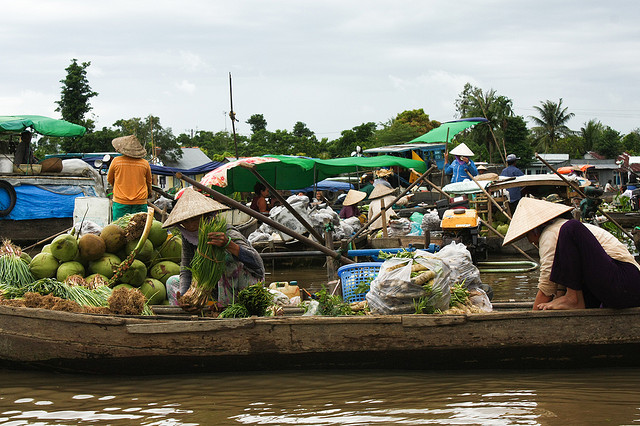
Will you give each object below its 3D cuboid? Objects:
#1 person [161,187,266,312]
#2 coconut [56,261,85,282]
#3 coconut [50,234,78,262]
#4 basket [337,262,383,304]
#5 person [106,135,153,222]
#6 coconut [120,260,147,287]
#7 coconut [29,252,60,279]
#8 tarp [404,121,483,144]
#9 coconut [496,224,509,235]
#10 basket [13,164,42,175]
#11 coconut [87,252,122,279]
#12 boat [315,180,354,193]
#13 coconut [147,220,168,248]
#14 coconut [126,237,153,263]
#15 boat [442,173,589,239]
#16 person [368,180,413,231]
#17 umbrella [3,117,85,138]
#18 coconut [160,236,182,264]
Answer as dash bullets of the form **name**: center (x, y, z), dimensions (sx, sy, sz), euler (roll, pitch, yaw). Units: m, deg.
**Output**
- **person**: center (-1.274, 0.453, 10.964), dimensions (1.150, 1.538, 0.965), euler (-2, 13, -5)
- **coconut**: center (-3.081, 0.686, 11.316), dimensions (0.283, 0.243, 0.328), euler (-15, -8, 23)
- **coconut**: center (-3.152, 0.459, 11.363), dimensions (0.330, 0.316, 0.383), euler (16, -23, -10)
- **basket**: center (0.467, 0.851, 11.574), dimensions (0.754, 0.439, 0.679), euler (1, 1, -10)
- **person**: center (-2.831, -0.502, 13.607), dimensions (0.647, 1.228, 0.563), euler (-6, 14, -19)
- **coconut**: center (-2.314, 0.752, 11.465), dimensions (0.344, 0.307, 0.348), euler (2, 3, 27)
- **coconut**: center (-3.426, 0.638, 11.336), dimensions (0.434, 0.288, 0.324), euler (-8, 13, -43)
- **tarp**: center (3.052, -1.971, 22.657), dimensions (1.129, 0.323, 0.847), euler (-16, 2, -41)
- **coconut**: center (3.182, 0.294, 15.988), dimensions (0.178, 0.122, 0.144), euler (-9, 43, 16)
- **basket**: center (-5.499, -0.786, 17.195), dimensions (0.346, 0.102, 0.233), euler (2, -3, -6)
- **coconut**: center (-2.684, 0.645, 11.514), dimensions (0.408, 0.275, 0.281), euler (-10, 13, 10)
- **boat**: center (0.354, -0.848, 29.439), dimensions (0.931, 0.176, 0.867), euler (3, -1, 15)
- **coconut**: center (-2.096, 0.254, 11.792), dimensions (0.361, 0.359, 0.329), euler (0, -2, 0)
- **coconut**: center (-2.269, 0.464, 11.645), dimensions (0.363, 0.247, 0.266), euler (-11, -4, 26)
- **boat**: center (3.548, -0.142, 16.853), dimensions (2.416, 0.600, 1.333), euler (-1, 0, -4)
- **person**: center (1.316, -0.102, 17.421), dimensions (0.459, 0.709, 0.954), euler (-19, -36, 0)
- **umbrella**: center (-5.304, -1.593, 17.276), dimensions (0.483, 0.394, 1.709), euler (9, 14, 38)
- **coconut**: center (-1.890, 0.456, 11.948), dimensions (0.241, 0.251, 0.234), euler (-18, 39, -31)
